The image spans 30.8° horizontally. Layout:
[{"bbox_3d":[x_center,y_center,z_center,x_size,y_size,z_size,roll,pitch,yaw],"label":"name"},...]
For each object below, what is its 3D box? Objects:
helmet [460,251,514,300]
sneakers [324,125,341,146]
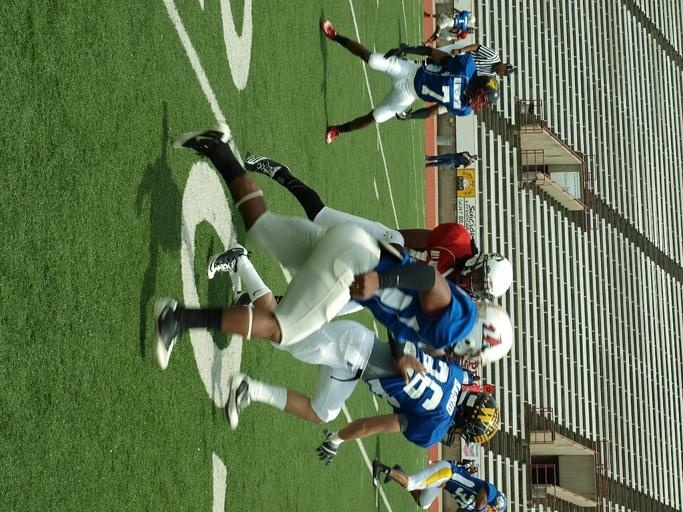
[{"bbox_3d":[1.878,0.244,15.988,0.514,0.503,0.666,9,78,12],"label":"helmet"},{"bbox_3d":[-0.156,-1.756,18.115,0.262,0.200,0.101,-46,25,-17],"label":"sneakers"}]
